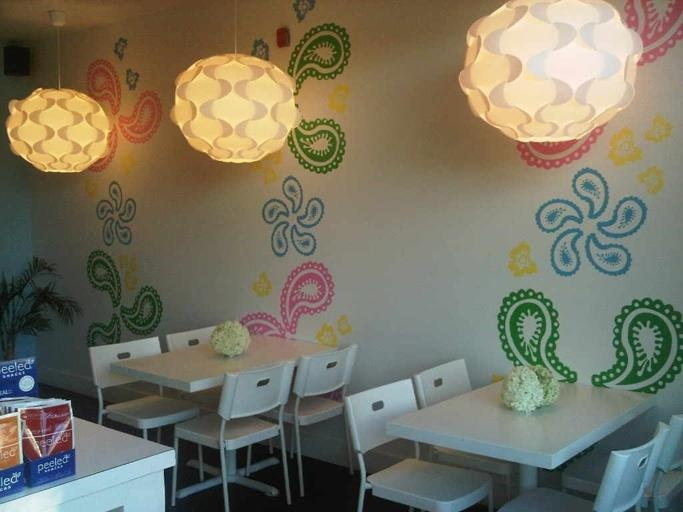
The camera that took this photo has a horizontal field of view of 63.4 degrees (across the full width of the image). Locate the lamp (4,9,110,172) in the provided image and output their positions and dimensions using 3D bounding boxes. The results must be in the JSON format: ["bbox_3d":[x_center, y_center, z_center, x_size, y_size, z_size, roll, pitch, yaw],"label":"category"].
[{"bbox_3d":[-2.089,-1.046,4.123,0.686,1.168,0.735,-1,-1,16],"label":"lamp"}]

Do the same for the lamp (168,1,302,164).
[{"bbox_3d":[-0.567,-0.948,3.266,0.577,0.985,0.617,1,4,1],"label":"lamp"}]
